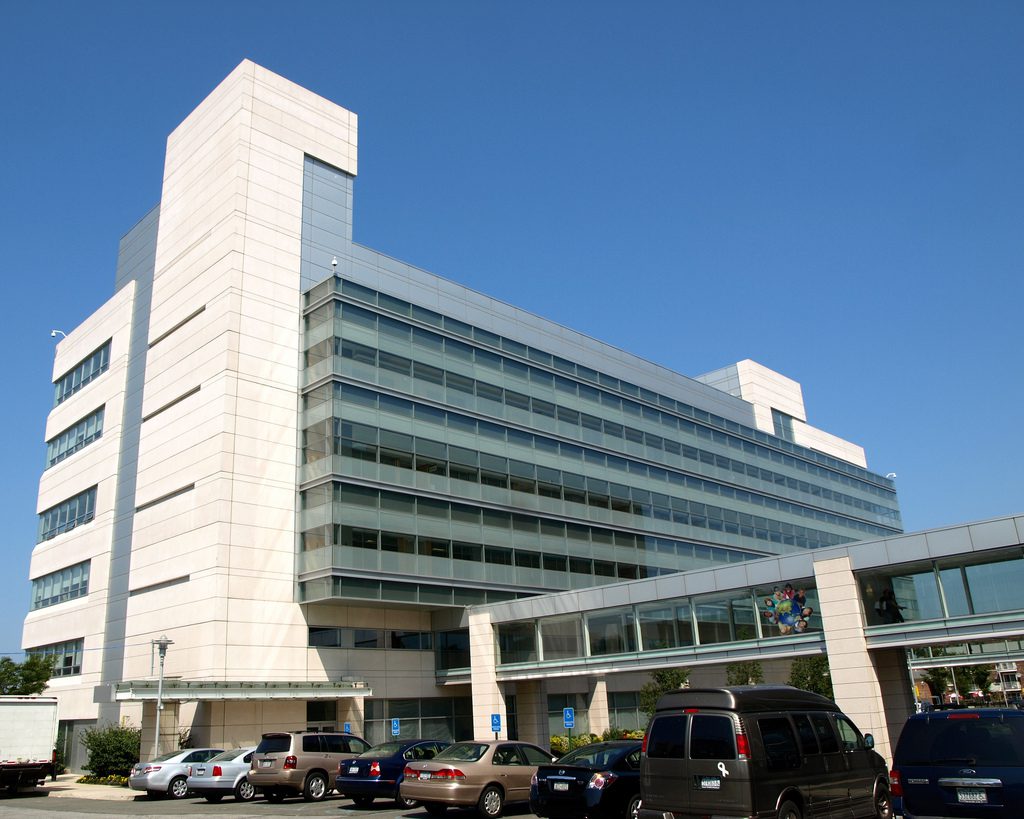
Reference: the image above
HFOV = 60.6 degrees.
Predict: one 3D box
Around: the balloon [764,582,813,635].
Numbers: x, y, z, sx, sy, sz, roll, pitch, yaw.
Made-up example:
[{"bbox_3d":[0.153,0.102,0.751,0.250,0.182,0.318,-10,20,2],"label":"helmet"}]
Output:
[{"bbox_3d":[9.646,6.978,30.622,1.575,1.573,1.037,-4,-5,42],"label":"balloon"}]
